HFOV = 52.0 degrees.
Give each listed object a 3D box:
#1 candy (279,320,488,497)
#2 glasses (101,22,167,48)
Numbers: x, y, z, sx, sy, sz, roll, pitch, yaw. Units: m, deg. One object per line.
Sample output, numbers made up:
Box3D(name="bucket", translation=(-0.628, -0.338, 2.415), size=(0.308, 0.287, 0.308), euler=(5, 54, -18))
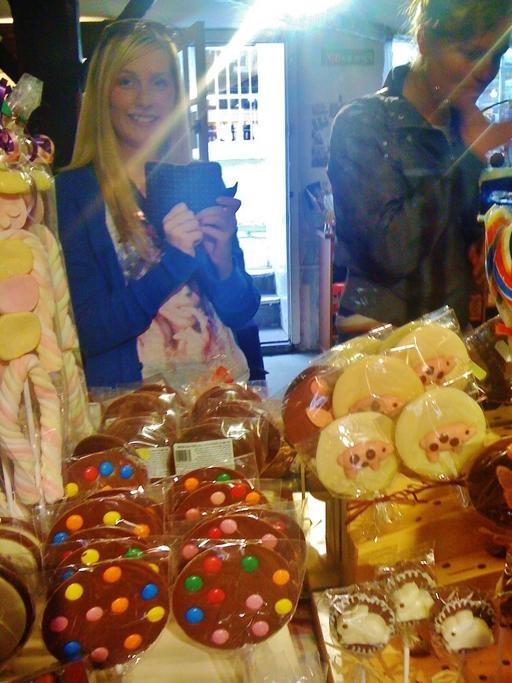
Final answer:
Box3D(name="candy", translation=(0.232, 0.107, 0.916), size=(0.376, 0.257, 0.256), euler=(-4, 15, 1))
Box3D(name="glasses", translation=(-0.292, -0.743, 1.263), size=(0.167, 0.053, 0.031), euler=(-8, 15, -12))
